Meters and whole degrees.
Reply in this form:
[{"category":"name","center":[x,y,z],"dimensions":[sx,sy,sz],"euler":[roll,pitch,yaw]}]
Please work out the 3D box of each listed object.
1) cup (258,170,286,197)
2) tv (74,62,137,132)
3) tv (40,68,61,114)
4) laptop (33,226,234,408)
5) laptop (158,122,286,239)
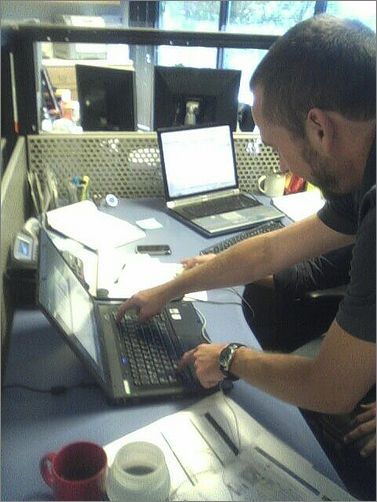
[{"category":"cup","center":[0.368,-0.290,1.777],"dimensions":[0.115,0.130,0.086],"euler":[-8,33,-13]},{"category":"tv","center":[-0.366,-0.724,1.994],"dimensions":[0.329,0.368,0.300],"euler":[3,27,1]},{"category":"tv","center":[-0.895,-1.026,2.631],"dimensions":[0.094,0.290,0.750],"euler":[-4,22,-16]},{"category":"laptop","center":[-0.111,0.150,0.773],"dimensions":[0.292,0.213,0.320],"euler":[-1,35,-20]},{"category":"laptop","center":[0.084,-0.296,1.602],"dimensions":[0.415,0.349,0.455],"euler":[-18,43,-29]}]
